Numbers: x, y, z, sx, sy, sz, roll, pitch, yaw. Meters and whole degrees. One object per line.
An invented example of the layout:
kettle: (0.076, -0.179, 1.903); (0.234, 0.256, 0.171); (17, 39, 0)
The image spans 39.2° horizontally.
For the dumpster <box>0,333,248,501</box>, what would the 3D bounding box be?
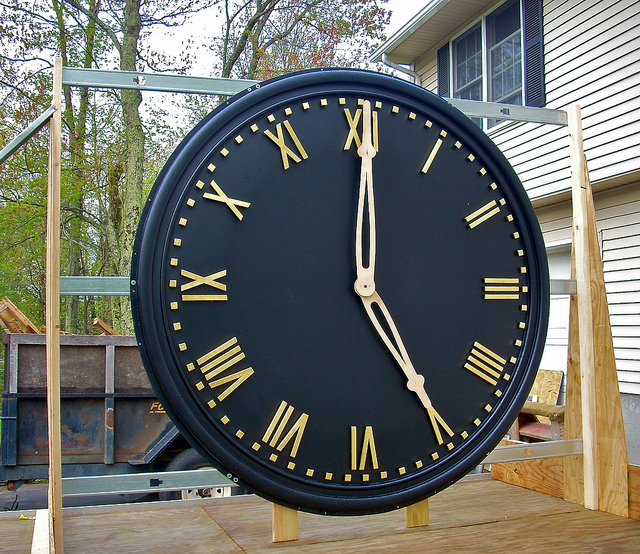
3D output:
dumpster: (-1.872, 1.318, 8.678); (2.166, 1.430, 1.454); (2, 82, -11)
